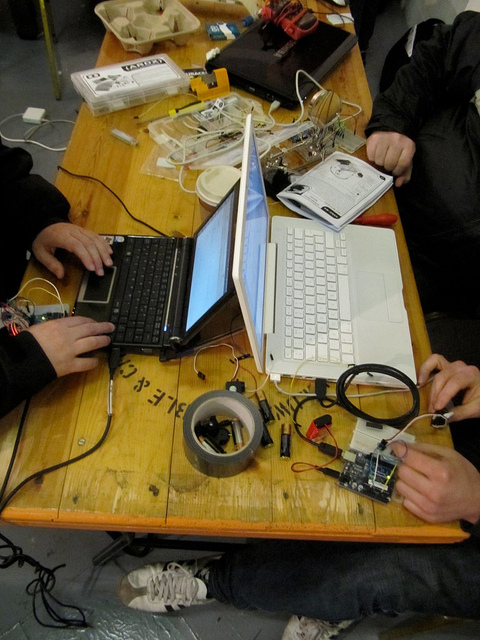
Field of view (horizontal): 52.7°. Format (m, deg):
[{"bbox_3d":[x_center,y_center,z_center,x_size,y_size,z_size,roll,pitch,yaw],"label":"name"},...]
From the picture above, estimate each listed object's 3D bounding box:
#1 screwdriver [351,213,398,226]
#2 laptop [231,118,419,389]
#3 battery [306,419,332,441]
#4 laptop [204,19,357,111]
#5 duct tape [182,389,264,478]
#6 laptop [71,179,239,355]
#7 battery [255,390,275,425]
[{"bbox_3d":[0.316,-0.237,1.136,0.112,0.026,0.030,-2,87,1],"label":"screwdriver"},{"bbox_3d":[0.158,-0.141,0.931,0.304,0.269,0.420,4,53,5],"label":"laptop"},{"bbox_3d":[0.140,0.193,0.846,0.035,0.041,0.024,0,43,-36],"label":"battery"},{"bbox_3d":[0.130,-0.804,1.450,0.305,0.122,0.419,26,55,19],"label":"laptop"},{"bbox_3d":[-0.024,0.192,0.762,0.135,0.088,0.147,1,57,-3],"label":"duct tape"},{"bbox_3d":[-0.127,-0.073,0.973,0.324,0.223,0.319,4,60,-2],"label":"laptop"},{"bbox_3d":[0.046,0.157,0.869,0.019,0.018,0.071,-42,52,20],"label":"battery"}]
